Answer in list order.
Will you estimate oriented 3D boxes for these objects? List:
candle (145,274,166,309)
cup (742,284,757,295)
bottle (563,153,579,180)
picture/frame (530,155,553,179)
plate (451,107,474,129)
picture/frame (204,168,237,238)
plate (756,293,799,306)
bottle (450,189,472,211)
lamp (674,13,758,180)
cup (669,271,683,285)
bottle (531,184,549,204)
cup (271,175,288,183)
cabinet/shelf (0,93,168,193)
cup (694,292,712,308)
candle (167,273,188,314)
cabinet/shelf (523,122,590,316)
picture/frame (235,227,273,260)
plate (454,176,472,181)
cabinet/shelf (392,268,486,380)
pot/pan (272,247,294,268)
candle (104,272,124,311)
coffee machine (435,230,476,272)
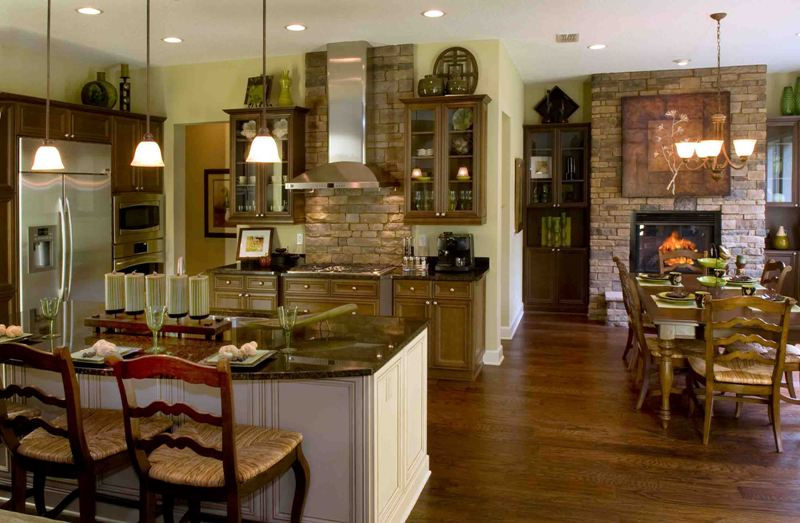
[{"bbox_3d":[-1.751,0.221,4.486,0.148,0.232,0.267,-4,13,-23],"label":"candle"},{"bbox_3d":[3.412,0.281,6.074,0.146,0.105,0.152,0,-2,0],"label":"cup"},{"bbox_3d":[2.703,-1.484,9.854,0.230,0.388,0.106,2,13,5],"label":"bottle"},{"bbox_3d":[2.282,-1.517,9.954,0.440,0.388,0.033,0,3,7],"label":"picture/frame"},{"bbox_3d":[0.696,-1.594,6.999,0.229,0.233,0.058,5,14,18],"label":"plate"},{"bbox_3d":[-2.666,-0.900,9.511,1.060,1.131,0.049,4,5,42],"label":"picture/frame"},{"bbox_3d":[3.510,0.356,5.812,0.259,0.075,0.397,1,1,-11],"label":"plate"},{"bbox_3d":[0.707,-0.702,7.071,0.281,0.231,0.093,1,1,15],"label":"bottle"},{"bbox_3d":[3.438,-1.803,6.726,0.883,1.635,0.931,-16,17,-41],"label":"lamp"},{"bbox_3d":[3.110,0.193,7.060,0.156,0.122,0.157,-2,0,0],"label":"cup"},{"bbox_3d":[2.262,-1.086,10.001,0.313,0.396,0.228,3,9,18],"label":"bottle"},{"bbox_3d":[-1.440,-0.991,7.483,0.177,0.066,0.100,1,6,17],"label":"cup"},{"bbox_3d":[-3.587,-1.311,6.947,0.307,0.707,1.573,-1,1,26],"label":"cabinet/shelf"},{"bbox_3d":[2.820,0.372,5.843,0.190,0.162,0.220,0,-5,9],"label":"cup"},{"bbox_3d":[-1.624,0.254,4.567,0.172,0.320,0.054,2,13,3],"label":"candle"},{"bbox_3d":[2.469,-0.690,9.915,1.139,2.968,0.679,3,13,8],"label":"cabinet/shelf"},{"bbox_3d":[-1.830,-0.226,7.865,0.040,0.433,0.533,16,11,37],"label":"picture/frame"},{"bbox_3d":[0.724,-0.941,7.034,0.150,0.045,0.019,3,13,8],"label":"plate"},{"bbox_3d":[0.656,0.685,7.262,1.429,1.546,1.108,-1,-2,14],"label":"cabinet/shelf"},{"bbox_3d":[-1.419,-0.050,7.590,0.266,0.172,0.247,1,4,3],"label":"pot/pan"},{"bbox_3d":[-2.140,0.239,4.712,0.144,0.298,0.088,4,13,15],"label":"candle"},{"bbox_3d":[0.637,-0.084,7.197,0.438,0.373,0.341,0,-6,22],"label":"coffee machine"}]
